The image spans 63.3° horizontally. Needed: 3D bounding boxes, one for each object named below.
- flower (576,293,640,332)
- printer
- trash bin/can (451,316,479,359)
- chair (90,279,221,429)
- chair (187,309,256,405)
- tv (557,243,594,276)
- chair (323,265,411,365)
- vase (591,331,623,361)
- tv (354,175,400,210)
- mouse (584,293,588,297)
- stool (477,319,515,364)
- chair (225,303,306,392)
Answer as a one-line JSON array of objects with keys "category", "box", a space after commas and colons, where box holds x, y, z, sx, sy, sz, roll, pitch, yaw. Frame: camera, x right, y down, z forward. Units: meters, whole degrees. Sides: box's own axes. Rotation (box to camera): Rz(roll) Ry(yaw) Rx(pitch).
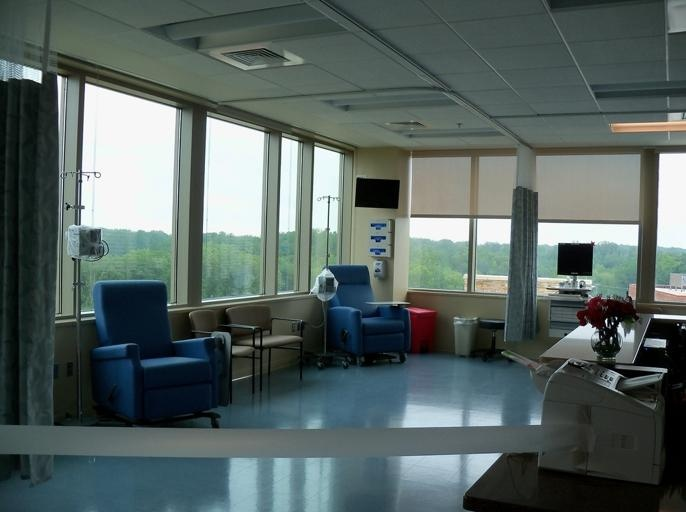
[{"category": "flower", "box": [1.783, 0.385, 3.834, 0.313, 0.256, 0.307, -2, -3, -35]}, {"category": "printer", "box": [1.088, 0.646, 2.255, 0.474, 0.377, 0.468, -2, -3, 29]}, {"category": "trash bin/can", "box": [1.977, 1.304, 8.985, 0.369, 0.600, 0.332, 2, 1, 13]}, {"category": "chair", "box": [-1.828, 0.902, 5.418, 0.996, 1.307, 1.062, 3, -3, -40]}, {"category": "chair", "box": [-1.359, 1.098, 6.276, 0.678, 0.923, 0.545, 2, 0, 26]}, {"category": "tv", "box": [3.580, 0.051, 8.588, 0.501, 0.491, 0.065, 1, -2, 16]}, {"category": "chair", "box": [0.359, 0.844, 8.447, 1.299, 1.344, 1.268, 1, 0, 28]}, {"category": "vase", "box": [1.781, 0.601, 3.810, 0.206, 0.214, 0.204, 0, -1, 2]}, {"category": "tv", "box": [0.580, -1.039, 9.210, 0.720, 0.495, 0.078, 3, -3, 5]}, {"category": "mouse", "box": [3.693, 0.597, 8.466, 0.054, 0.037, 0.054, -1, 3, -8]}, {"category": "stool", "box": [2.345, 1.311, 8.736, 0.550, 0.737, 0.541, 1, -1, -14]}, {"category": "chair", "box": [-0.981, 1.108, 6.916, 0.734, 0.905, 0.856, 1, 1, 38]}]
